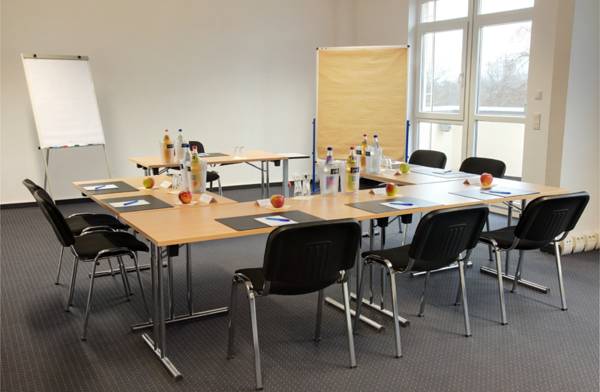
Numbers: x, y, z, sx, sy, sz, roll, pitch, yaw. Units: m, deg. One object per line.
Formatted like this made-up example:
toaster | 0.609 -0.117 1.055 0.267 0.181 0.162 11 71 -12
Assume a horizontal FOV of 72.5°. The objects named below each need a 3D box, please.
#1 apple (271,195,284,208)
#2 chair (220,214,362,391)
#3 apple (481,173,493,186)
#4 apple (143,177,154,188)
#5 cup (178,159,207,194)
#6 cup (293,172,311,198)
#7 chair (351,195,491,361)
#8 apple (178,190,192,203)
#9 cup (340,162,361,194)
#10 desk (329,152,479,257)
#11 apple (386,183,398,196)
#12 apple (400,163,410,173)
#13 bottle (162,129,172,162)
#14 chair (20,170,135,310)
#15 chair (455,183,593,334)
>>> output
apple | -0.178 0.039 3.391 0.101 0.095 0.100 -3 7 -30
chair | -0.059 0.671 2.931 0.937 1.122 0.521 -5 15 -16
apple | 1.853 -0.166 4.069 0.117 0.126 0.121 1 6 -4
apple | -1.481 -0.138 4.006 0.104 0.107 0.103 -1 12 -12
cup | -0.996 -0.181 3.815 0.293 0.378 0.302 2 4 0
cup | 0.017 -0.108 3.826 0.153 0.190 0.172 -1 14 -2
chair | 1.166 0.532 3.708 1.050 1.584 1.141 -5 10 -28
apple | -0.977 0.010 3.476 0.106 0.111 0.109 -1 9 -8
cup | 0.468 -0.252 3.827 0.174 0.420 0.178 0 9 0
desk | 1.189 0.002 5.019 1.224 1.688 1.224 -4 9 -37
apple | 0.814 -0.063 3.682 0.102 0.123 0.102 0 1 2
apple | 1.189 -0.317 4.648 0.100 0.107 0.125 2 14 12
bottle | -1.650 -0.622 5.068 0.126 0.391 0.210 -6 15 -17
chair | -2.083 0.372 3.950 0.663 1.075 0.823 11 18 41
chair | 2.021 0.491 3.783 0.765 1.175 0.903 -4 12 -4
